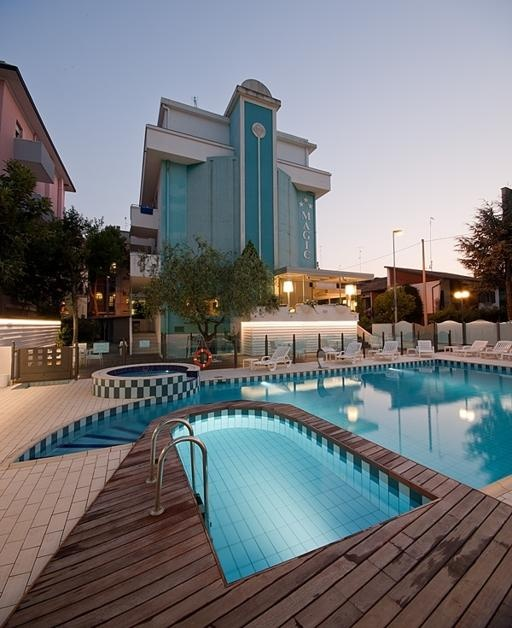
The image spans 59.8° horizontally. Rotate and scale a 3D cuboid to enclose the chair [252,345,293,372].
[{"bbox_3d":[0.585,1.371,14.088,1.234,0.627,0.648,0,-3,-44],"label":"chair"}]
